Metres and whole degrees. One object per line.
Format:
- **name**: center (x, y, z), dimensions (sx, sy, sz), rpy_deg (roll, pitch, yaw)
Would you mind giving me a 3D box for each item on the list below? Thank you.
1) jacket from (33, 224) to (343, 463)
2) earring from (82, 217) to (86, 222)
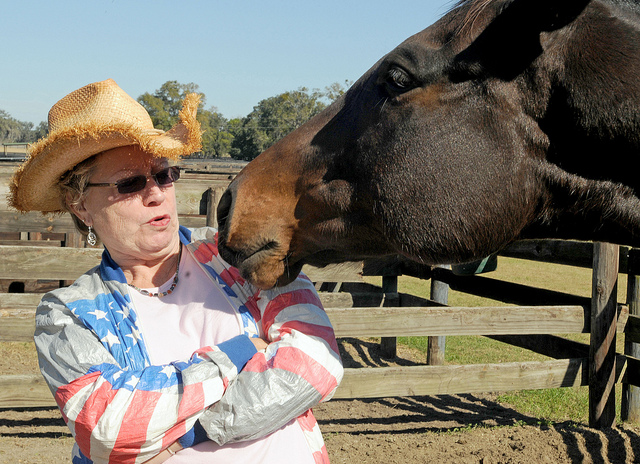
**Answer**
- **jacket**: center (-0.769, 0.769, 5.943), dimensions (1.561, 1.950, 1.179), rpy_deg (-8, -2, -10)
- **earring**: center (-1.473, -0.080, 5.905), dimensions (0.025, 0.026, 0.006), rpy_deg (3, -2, 13)
